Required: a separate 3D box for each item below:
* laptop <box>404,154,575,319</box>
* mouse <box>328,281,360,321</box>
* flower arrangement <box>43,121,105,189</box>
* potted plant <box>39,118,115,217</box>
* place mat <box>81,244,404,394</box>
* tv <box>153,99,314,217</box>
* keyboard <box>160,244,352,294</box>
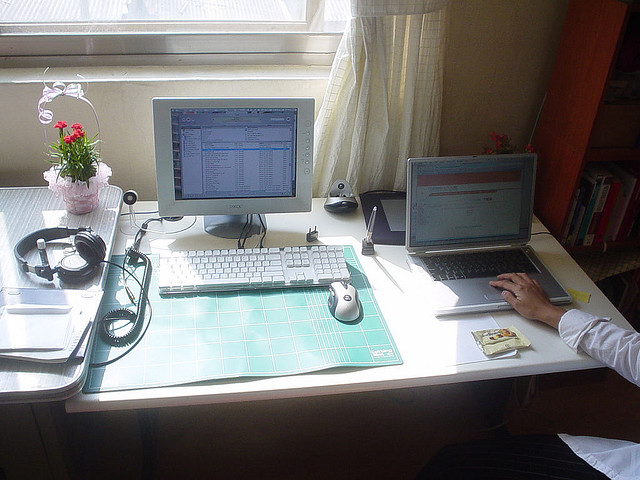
[{"bbox_3d":[0.492,0.054,1.684,0.621,0.466,0.501,-6,43,-5],"label":"laptop"},{"bbox_3d":[0.070,0.185,1.429,0.091,0.075,0.118,-3,25,-9],"label":"mouse"},{"bbox_3d":[-0.828,-0.293,1.596,0.153,0.180,0.168,-4,6,26],"label":"flower arrangement"},{"bbox_3d":[-0.846,-0.252,1.607,0.188,0.282,0.199,23,31,26],"label":"potted plant"},{"bbox_3d":[-0.214,0.230,1.386,0.842,0.115,0.407,-3,26,-9],"label":"place mat"},{"bbox_3d":[-0.302,-0.289,1.570,0.412,0.302,0.043,-2,21,-8],"label":"tv"},{"bbox_3d":[-0.217,0.081,1.541,0.605,0.077,0.201,-2,25,-7],"label":"keyboard"}]
